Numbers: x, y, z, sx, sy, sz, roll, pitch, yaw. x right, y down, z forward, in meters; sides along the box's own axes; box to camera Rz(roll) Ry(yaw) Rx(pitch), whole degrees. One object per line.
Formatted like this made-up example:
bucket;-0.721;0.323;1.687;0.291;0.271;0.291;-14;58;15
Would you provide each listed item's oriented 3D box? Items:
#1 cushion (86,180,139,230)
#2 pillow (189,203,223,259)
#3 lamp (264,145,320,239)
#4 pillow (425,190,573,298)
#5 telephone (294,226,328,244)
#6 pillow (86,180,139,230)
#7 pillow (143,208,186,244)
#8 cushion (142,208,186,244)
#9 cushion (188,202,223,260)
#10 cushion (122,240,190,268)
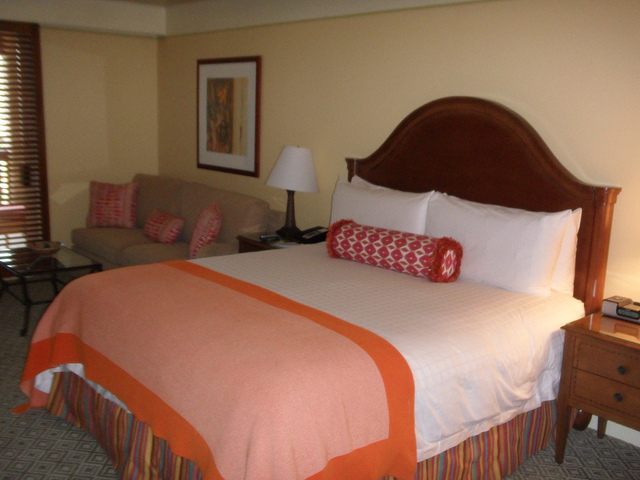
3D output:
cushion;-2.493;-0.407;5.854;0.527;0.569;0.184;2;-5;-1
pillow;-1.220;-0.126;5.000;0.282;0.513;0.533;-15;23;-40
lamp;-0.267;-0.464;4.647;0.506;0.898;0.492;-6;19;-43
pillow;1.199;0.052;3.184;0.190;0.379;0.590;16;-1;-40
telephone;-0.057;-0.040;4.370;0.220;0.056;0.153;-16;23;-39
pillow;-2.488;-0.402;5.849;0.519;0.579;0.185;0;-1;0
pillow;-1.721;-0.141;5.348;0.441;0.343;0.149;16;-13;43
cushion;-1.683;-0.099;5.413;0.472;0.346;0.154;18;-13;46
cushion;-1.130;-0.080;4.830;0.215;0.482;0.374;1;35;-28
cushion;-1.611;0.128;4.990;0.452;0.135;0.451;10;14;39
